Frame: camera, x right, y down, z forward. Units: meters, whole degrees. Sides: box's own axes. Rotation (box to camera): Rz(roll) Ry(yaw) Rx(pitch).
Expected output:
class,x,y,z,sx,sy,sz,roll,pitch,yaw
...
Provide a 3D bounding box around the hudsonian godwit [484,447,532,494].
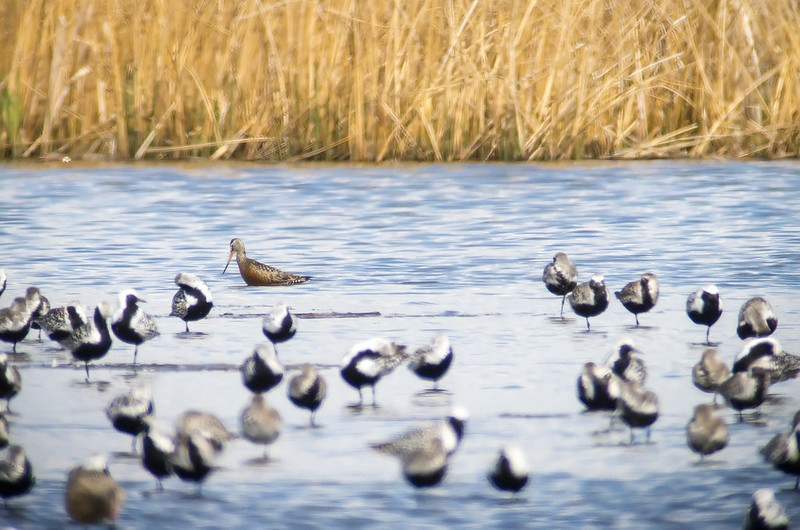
class,x,y,z,sx,sy,sz,roll,pitch,yaw
hudsonian godwit,0.862,1.605,9.698,0.345,0.389,0.340,12,-5,3

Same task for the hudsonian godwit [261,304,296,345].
class,x,y,z,sx,sy,sz,roll,pitch,yaw
hudsonian godwit,-1.202,0.577,12.020,0.323,0.392,0.266,-1,12,-11

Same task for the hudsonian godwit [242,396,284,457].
class,x,y,z,sx,sy,sz,roll,pitch,yaw
hudsonian godwit,-1.146,1.351,10.250,0.375,0.406,0.301,11,15,39
